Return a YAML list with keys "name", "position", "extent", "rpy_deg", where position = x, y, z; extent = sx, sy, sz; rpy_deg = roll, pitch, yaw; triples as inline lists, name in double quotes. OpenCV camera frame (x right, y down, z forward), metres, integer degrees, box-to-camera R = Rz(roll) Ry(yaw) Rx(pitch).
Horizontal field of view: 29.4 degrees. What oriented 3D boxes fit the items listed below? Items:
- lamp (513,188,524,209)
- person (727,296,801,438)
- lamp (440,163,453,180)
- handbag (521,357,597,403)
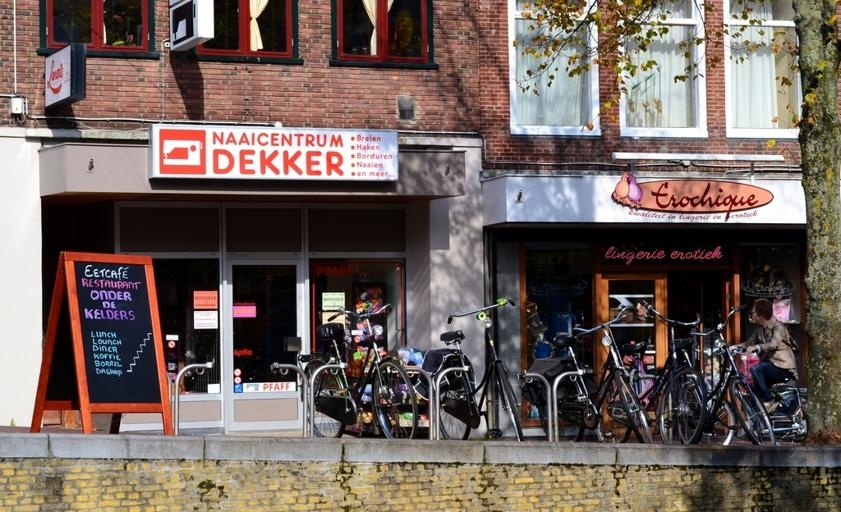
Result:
- name: "lamp"
  position: [1.727, -1.019, 28.243]
  extent: [0.186, 0.258, 0.078]
  rpy_deg: [14, 8, 16]
- name: "person"
  position: [5.770, 1.755, 26.764]
  extent: [1.064, 2.045, 0.877]
  rpy_deg: [0, -2, 5]
- name: "lamp"
  position: [0.469, -1.505, 28.414]
  extent: [0.204, 0.271, 0.198]
  rpy_deg: [17, 16, -7]
- name: "handbag"
  position: [2.156, 1.942, 26.024]
  extent: [0.901, 0.437, 0.851]
  rpy_deg: [1, -14, -23]
